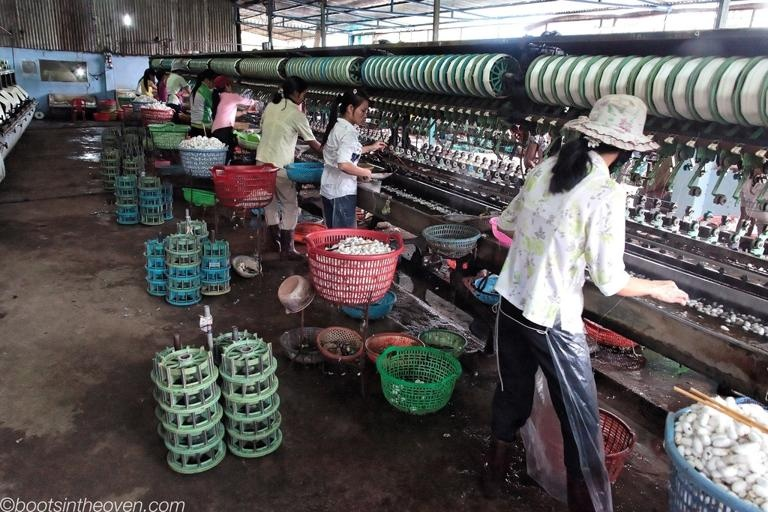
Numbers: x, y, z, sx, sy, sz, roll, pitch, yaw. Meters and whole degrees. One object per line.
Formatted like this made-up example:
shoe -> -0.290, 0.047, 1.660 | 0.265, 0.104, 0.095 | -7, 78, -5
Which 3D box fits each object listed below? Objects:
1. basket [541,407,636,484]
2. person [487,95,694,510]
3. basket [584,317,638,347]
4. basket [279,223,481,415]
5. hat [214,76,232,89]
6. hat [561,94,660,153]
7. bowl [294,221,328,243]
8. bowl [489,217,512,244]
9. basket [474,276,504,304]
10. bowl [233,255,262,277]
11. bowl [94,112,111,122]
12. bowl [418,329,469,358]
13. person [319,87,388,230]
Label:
basket -> 1.312, 1.189, 2.870 | 0.581, 0.261, 0.549 | -2, 13, -7
person -> 1.026, 0.306, 2.519 | 0.950, 2.228, 0.813 | 10, 26, 15
basket -> 1.692, 0.574, 3.414 | 0.439, 0.150, 0.442 | 11, 7, 27
basket -> -0.165, 0.295, 3.560 | 1.000, 0.829, 1.110 | -4, 12, -24
hat -> -2.453, -2.625, 6.955 | 0.211, 0.171, 0.197 | -12, 28, -30
hat -> 1.194, -0.658, 2.439 | 0.518, 0.235, 0.500 | 14, 10, 37
bowl -> -1.009, -0.333, 6.065 | 0.388, 0.141, 0.390 | 0, 11, 0
bowl -> 0.786, -0.165, 3.099 | 0.198, 0.076, 0.172 | 38, 27, 31
basket -> 0.861, 0.291, 3.831 | 0.203, 0.269, 0.200 | -19, 32, -27
bowl -> -1.536, 0.131, 5.140 | 0.276, 0.100, 0.257 | 13, 47, -14
bowl -> -9.481, -4.688, 15.494 | 0.369, 0.178, 0.442 | 2, 9, -3
bowl -> 0.509, 0.747, 3.958 | 0.264, 0.088, 0.248 | 4, 25, -2
person -> -0.382, -0.895, 4.522 | 0.400, 1.383, 0.641 | -7, 27, -21
